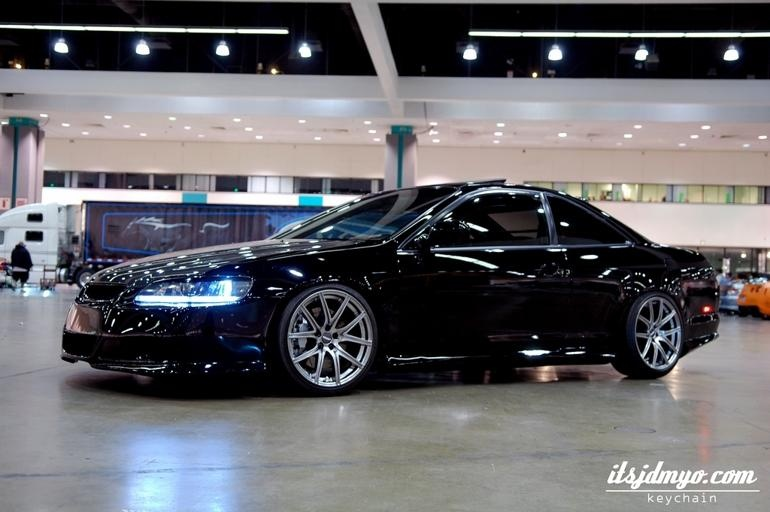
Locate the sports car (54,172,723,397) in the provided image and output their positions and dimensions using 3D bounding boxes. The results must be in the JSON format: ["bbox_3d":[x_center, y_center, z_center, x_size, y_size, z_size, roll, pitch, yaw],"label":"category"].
[{"bbox_3d":[0.248,0.398,6.319,5.841,1.563,2.400,2,-5,-22],"label":"sports car"}]

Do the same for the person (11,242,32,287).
[{"bbox_3d":[-14.020,0.321,24.261,0.702,1.687,1.357,-3,9,-30],"label":"person"}]
